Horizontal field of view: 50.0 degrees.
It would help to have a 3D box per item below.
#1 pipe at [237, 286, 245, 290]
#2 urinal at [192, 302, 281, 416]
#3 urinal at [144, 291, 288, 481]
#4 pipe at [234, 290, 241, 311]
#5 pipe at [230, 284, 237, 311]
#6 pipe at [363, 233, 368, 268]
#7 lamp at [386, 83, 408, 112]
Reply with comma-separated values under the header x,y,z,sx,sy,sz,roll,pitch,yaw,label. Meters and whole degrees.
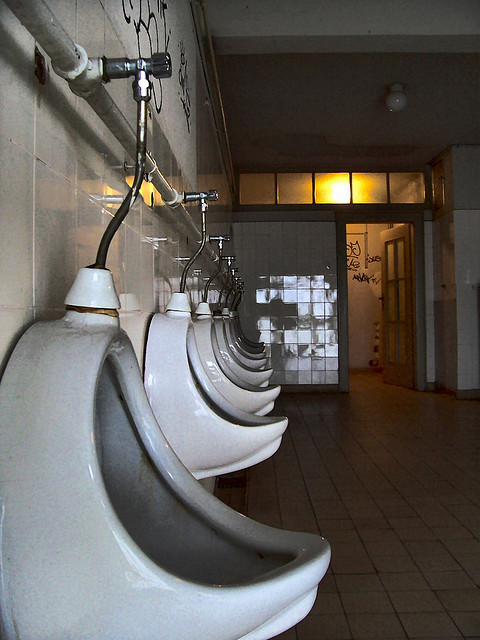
x,y,z,sx,sy,sz,roll,pitch,yaw,label
0.010,-0.337,5.373,0.076,0.022,0.055,-2,5,-24,pipe
-0.007,0.093,1.318,0.203,0.298,0.217,2,5,1,urinal
-0.024,0.124,0.893,0.218,0.330,0.245,3,5,2,urinal
-0.014,-0.109,3.189,0.017,0.083,0.017,9,19,-18,pipe
-0.043,-0.141,3.412,0.024,0.188,0.022,10,11,-4,pipe
1.963,-1.079,8.012,0.047,0.537,0.084,0,0,14,pipe
1.191,-1.695,3.913,0.138,0.145,0.192,0,0,8,lamp
